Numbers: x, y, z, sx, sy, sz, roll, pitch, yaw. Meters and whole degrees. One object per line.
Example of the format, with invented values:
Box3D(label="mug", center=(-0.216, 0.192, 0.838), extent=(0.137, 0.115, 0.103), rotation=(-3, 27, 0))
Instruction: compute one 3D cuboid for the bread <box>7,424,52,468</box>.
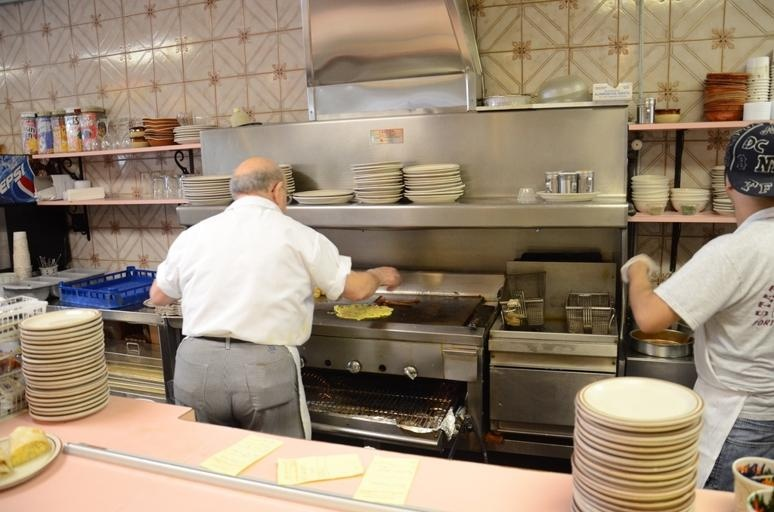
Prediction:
Box3D(label="bread", center=(-1.346, 0.720, 2.137), extent=(0.143, 0.080, 0.135), rotation=(-10, 24, -33))

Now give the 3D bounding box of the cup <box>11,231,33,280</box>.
Box3D(label="cup", center=(-3.027, -0.014, 4.715), extent=(0.138, 0.399, 0.200), rotation=(-7, 10, -32))

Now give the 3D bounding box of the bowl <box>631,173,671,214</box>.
Box3D(label="bowl", center=(1.616, -0.384, 3.449), extent=(0.258, 0.248, 0.243), rotation=(-1, 4, 0))

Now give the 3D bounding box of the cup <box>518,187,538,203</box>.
Box3D(label="cup", center=(0.865, -0.371, 3.390), extent=(0.116, 0.087, 0.110), rotation=(-1, -1, 0))

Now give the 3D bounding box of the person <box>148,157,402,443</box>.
Box3D(label="person", center=(-0.625, 0.501, 3.255), extent=(1.386, 1.973, 0.999), rotation=(5, 18, 12))

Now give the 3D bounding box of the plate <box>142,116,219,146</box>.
Box3D(label="plate", center=(-1.558, -0.986, 4.346), extent=(0.687, 0.239, 0.311), rotation=(3, 10, 30))

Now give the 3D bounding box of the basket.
Box3D(label="basket", center=(-2.001, 0.244, 4.332), extent=(0.714, 0.204, 0.591), rotation=(1, 9, 20))

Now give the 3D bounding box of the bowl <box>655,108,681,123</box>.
Box3D(label="bowl", center=(1.715, -0.866, 3.417), extent=(0.115, 0.064, 0.110), rotation=(0, 4, 0))

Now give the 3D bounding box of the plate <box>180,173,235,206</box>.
Box3D(label="plate", center=(-1.201, -0.455, 3.815), extent=(0.284, 0.118, 0.276), rotation=(2, 5, 21))

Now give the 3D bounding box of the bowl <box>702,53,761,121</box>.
Box3D(label="bowl", center=(2.045, -0.981, 3.337), extent=(0.371, 0.328, 0.284), rotation=(4, 7, 26))

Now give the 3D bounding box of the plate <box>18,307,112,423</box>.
Box3D(label="plate", center=(-1.369, 0.445, 2.615), extent=(0.471, 0.479, 0.445), rotation=(-4, 9, -26))

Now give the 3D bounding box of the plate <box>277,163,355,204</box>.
Box3D(label="plate", center=(-0.452, -0.479, 3.700), extent=(0.410, 0.147, 0.305), rotation=(0, 10, 4))

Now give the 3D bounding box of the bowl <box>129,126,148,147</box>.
Box3D(label="bowl", center=(-1.944, -0.955, 4.469), extent=(0.167, 0.112, 0.165), rotation=(-1, 3, 0))

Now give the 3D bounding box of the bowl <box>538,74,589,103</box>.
Box3D(label="bowl", center=(1.105, -1.040, 3.470), extent=(0.212, 0.122, 0.231), rotation=(-1, 10, 0))

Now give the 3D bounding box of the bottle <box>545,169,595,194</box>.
Box3D(label="bottle", center=(1.066, -0.437, 3.239), extent=(0.251, 0.097, 0.141), rotation=(0, 4, 9))

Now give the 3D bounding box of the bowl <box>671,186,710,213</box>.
Box3D(label="bowl", center=(1.850, -0.347, 3.445), extent=(0.179, 0.118, 0.187), rotation=(0, 2, 0))
